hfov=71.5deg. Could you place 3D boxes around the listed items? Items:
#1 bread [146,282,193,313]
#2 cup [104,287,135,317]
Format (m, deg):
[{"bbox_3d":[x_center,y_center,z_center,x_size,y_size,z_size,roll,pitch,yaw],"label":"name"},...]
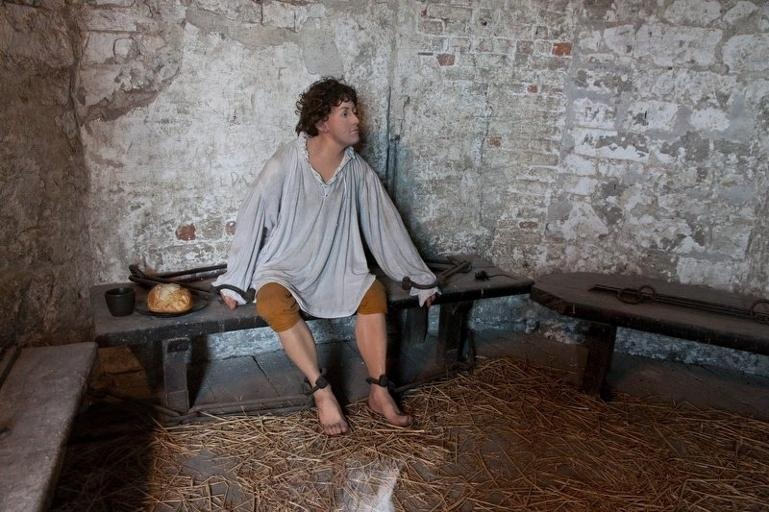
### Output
[{"bbox_3d":[-1.435,0.279,3.565,0.265,0.172,0.164,-9,18,-26],"label":"bread"},{"bbox_3d":[-1.749,0.281,3.554,0.202,0.156,0.195,4,17,-1],"label":"cup"}]
